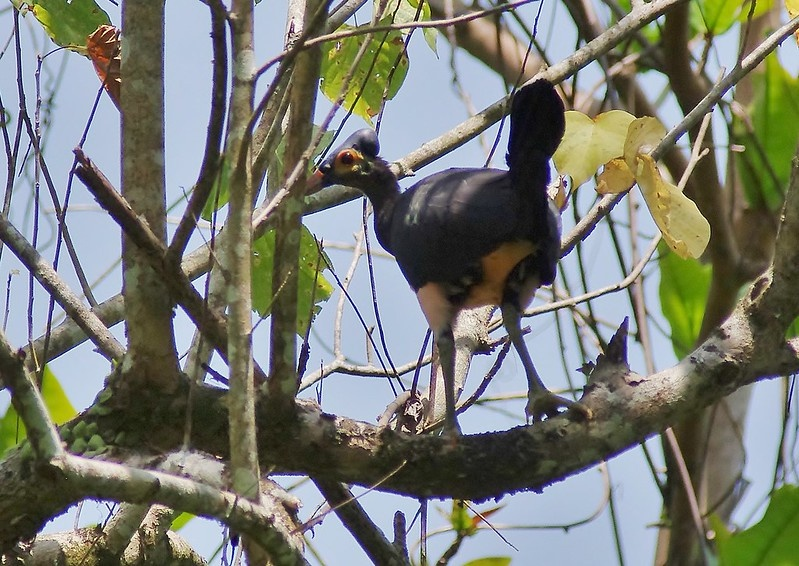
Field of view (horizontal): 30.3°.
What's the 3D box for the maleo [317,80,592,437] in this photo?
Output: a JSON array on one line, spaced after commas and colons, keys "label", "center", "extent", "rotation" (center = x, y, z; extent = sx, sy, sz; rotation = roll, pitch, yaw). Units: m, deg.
[{"label": "maleo", "center": [0.150, -0.106, 5.344], "extent": [0.547, 1.357, 1.399], "rotation": [-1, 1, -38]}]
